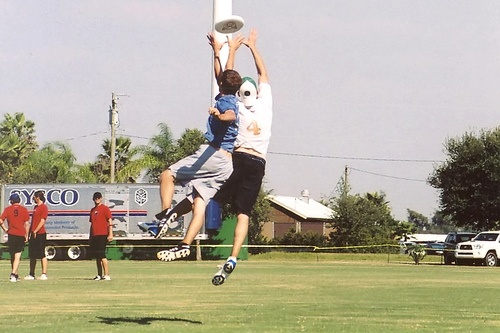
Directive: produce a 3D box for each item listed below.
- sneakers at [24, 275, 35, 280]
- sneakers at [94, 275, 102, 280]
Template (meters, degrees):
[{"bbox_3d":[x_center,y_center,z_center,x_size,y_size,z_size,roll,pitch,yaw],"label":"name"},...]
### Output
[{"bbox_3d":[-8.805,4.443,36.883,0.382,0.176,0.168,5,-3,7],"label":"sneakers"},{"bbox_3d":[-6.024,4.444,36.612,0.230,0.079,0.235,-3,0,33],"label":"sneakers"}]
